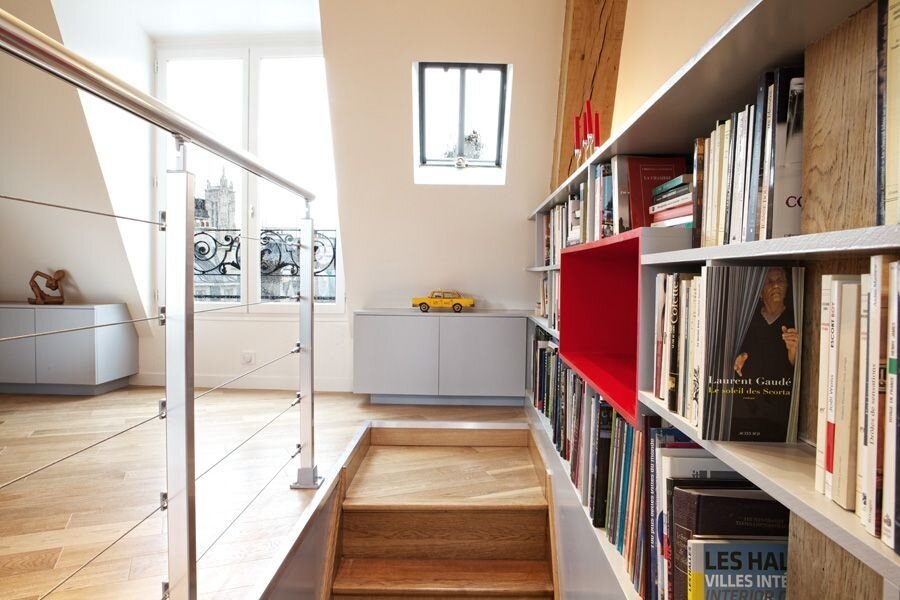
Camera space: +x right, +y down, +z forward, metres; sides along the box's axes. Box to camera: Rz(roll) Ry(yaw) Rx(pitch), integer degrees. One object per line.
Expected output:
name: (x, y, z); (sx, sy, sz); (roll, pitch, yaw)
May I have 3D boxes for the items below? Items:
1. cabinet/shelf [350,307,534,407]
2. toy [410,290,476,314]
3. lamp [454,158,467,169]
cabinet/shelf: (-0.075, 0.385, 4.355); (1.201, 0.570, 0.255); (1, 5, 11)
toy: (-0.052, 0.023, 4.576); (0.347, 0.141, 0.202); (1, -2, -3)
lamp: (0.070, -0.954, 4.311); (0.071, 0.086, 0.125); (1, 4, 11)
